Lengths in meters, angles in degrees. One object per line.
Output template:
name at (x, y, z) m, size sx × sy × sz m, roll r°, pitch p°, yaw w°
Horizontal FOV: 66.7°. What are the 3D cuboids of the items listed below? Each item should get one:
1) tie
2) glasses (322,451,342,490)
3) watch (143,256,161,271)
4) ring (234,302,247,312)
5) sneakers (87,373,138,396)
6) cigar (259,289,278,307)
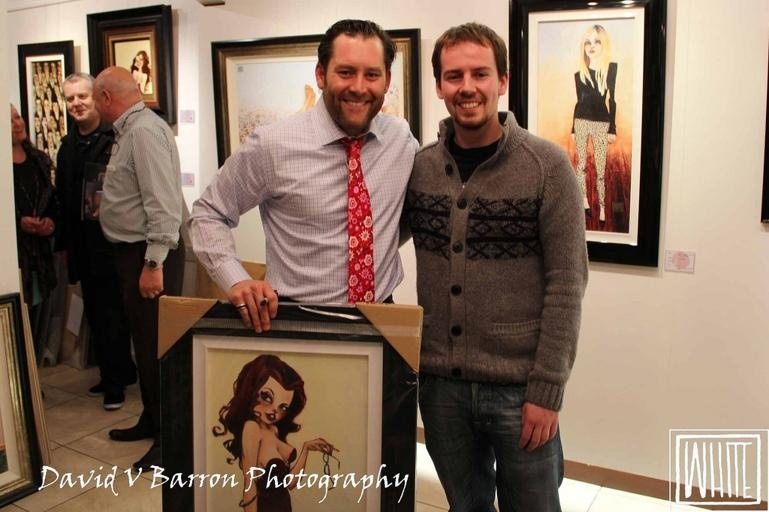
tie at (-0.111, -0.159, 2.489) m, size 0.118 × 0.685 × 0.156 m, roll -2°, pitch 8°, yaw -4°
glasses at (-0.204, 0.796, 2.212) m, size 0.064 × 0.160 × 0.032 m, roll -3°, pitch 8°, yaw -10°
watch at (-1.539, 0.047, 3.859) m, size 0.094 × 0.081 × 0.061 m, roll -4°, pitch 9°, yaw -14°
ring at (-0.549, 0.190, 2.221) m, size 0.028 × 0.023 × 0.032 m, roll 0°, pitch 6°, yaw -12°
sneakers at (-2.298, 1.061, 4.972) m, size 0.150 × 0.193 × 0.462 m, roll 0°, pitch -5°, yaw -2°
cigar at (-0.442, 0.151, 2.232) m, size 0.047 × 0.028 × 0.066 m, roll 1°, pitch 23°, yaw 11°
